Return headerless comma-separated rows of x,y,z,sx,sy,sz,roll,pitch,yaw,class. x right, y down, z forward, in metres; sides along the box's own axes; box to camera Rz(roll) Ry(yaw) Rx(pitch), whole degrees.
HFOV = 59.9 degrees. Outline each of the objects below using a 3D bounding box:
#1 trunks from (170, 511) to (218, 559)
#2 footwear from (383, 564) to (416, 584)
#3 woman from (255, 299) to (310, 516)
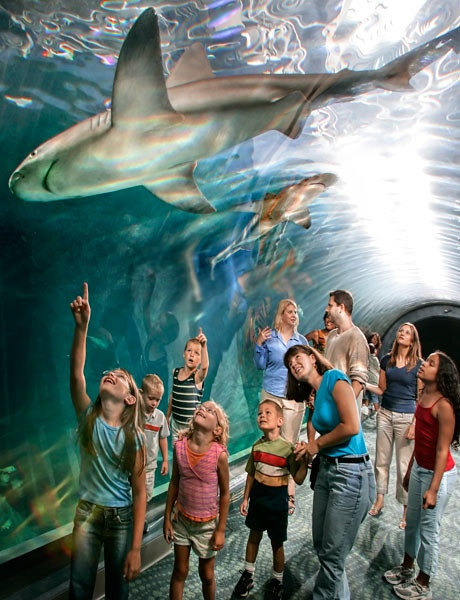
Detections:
-0.257,1.680,2.869,0.385,0.343,0.212,-3,-9,10,trunks
1.518,2.455,3.603,0.263,0.113,0.156,-14,-7,28,footwear
0.730,1.340,5.380,0.967,2.651,0.857,1,-13,14,woman
